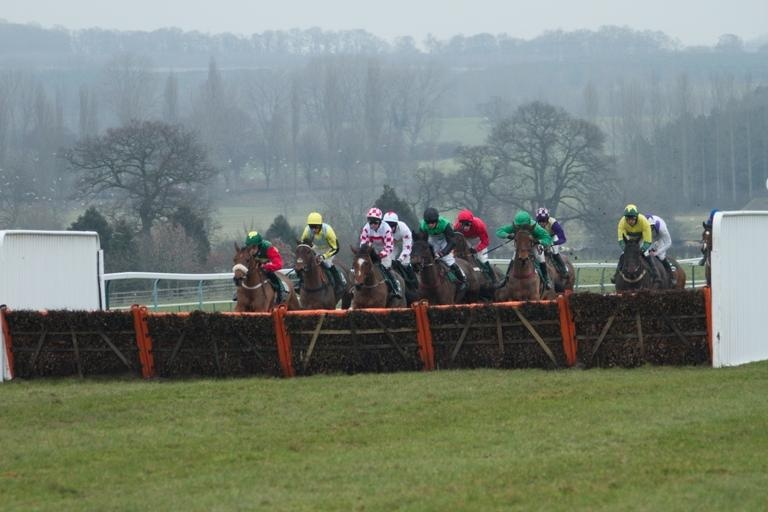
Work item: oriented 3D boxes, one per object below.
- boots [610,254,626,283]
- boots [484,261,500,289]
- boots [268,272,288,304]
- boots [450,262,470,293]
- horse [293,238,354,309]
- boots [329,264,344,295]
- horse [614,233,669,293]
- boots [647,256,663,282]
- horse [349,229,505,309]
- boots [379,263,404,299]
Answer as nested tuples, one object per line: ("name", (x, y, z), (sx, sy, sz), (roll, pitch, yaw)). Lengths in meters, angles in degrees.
("boots", (8.313, 0.515, 57.466), (0.232, 1.043, 0.577), (13, 17, -5))
("boots", (3.617, 0.713, 54.689), (0.209, 0.819, 0.453), (-23, 4, 33))
("boots", (-3.494, 1.006, 52.939), (0.359, 1.279, 0.741), (-7, 4, 34))
("boots", (2.509, 0.790, 53.430), (0.679, 1.201, 0.325), (-17, 1, 5))
("horse", (-2.129, 0.684, 52.984), (0.805, 2.153, 2.033), (1, 5, 44))
("boots", (-1.617, 0.834, 53.396), (0.233, 0.904, 0.499), (-11, 14, 22))
("horse", (8.709, 0.260, 54.611), (1.738, 1.808, 0.860), (-5, 4, -33))
("boots", (9.161, 0.506, 54.693), (0.180, 0.775, 0.435), (-16, 4, 17))
("horse", (2.467, 0.371, 54.111), (3.290, 2.723, 7.975), (0, 0, 12))
("boots", (0.200, 0.868, 52.729), (0.236, 1.017, 0.543), (-24, -5, 3))
